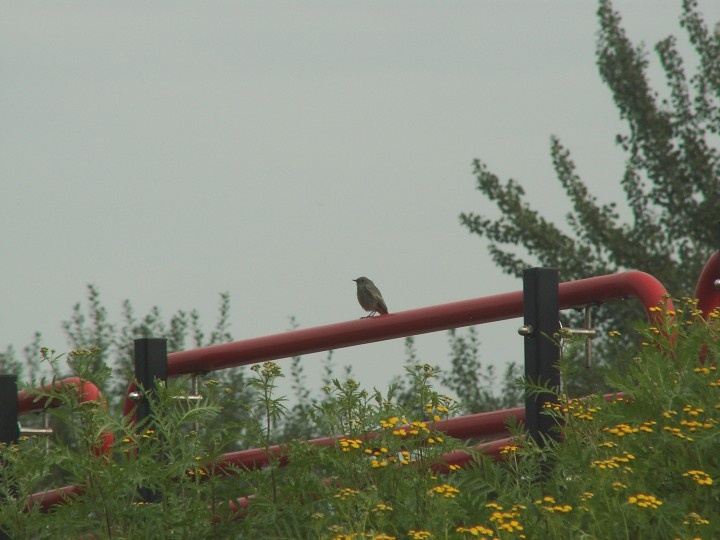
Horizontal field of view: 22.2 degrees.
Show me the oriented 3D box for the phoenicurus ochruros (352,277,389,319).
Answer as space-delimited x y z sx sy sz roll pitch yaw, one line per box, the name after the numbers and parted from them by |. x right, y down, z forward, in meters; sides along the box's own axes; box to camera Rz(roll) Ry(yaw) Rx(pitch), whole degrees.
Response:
0.113 0.259 19.147 0.289 0.427 0.348 -8 -9 -1 | phoenicurus ochruros
